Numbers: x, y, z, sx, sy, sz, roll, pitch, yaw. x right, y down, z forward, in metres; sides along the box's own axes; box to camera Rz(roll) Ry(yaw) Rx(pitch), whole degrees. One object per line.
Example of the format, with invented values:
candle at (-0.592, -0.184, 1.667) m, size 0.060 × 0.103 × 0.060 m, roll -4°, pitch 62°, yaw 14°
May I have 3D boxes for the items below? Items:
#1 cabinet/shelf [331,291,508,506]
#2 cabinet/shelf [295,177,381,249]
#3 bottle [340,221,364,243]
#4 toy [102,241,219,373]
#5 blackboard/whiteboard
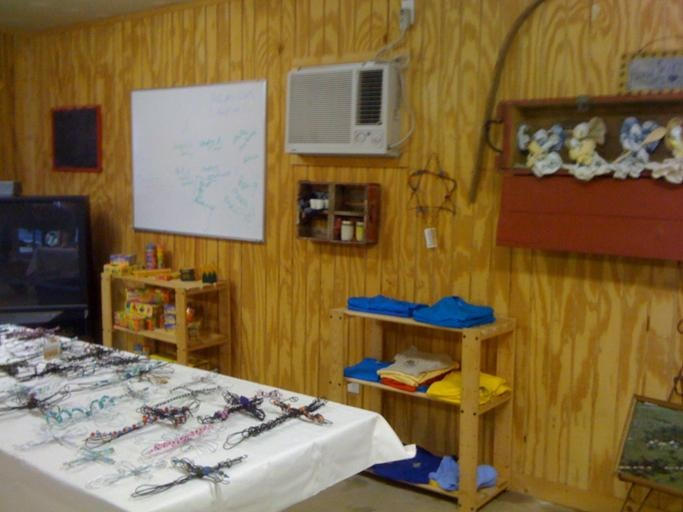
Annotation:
cabinet/shelf at (0.486, 0.815, 3.289) m, size 1.046 × 1.061 × 0.380 m, roll 6°, pitch 6°, yaw 41°
cabinet/shelf at (-0.034, -0.285, 3.795) m, size 0.484 × 0.377 × 0.164 m, roll 5°, pitch 3°, yaw 25°
bottle at (0.079, -0.154, 3.694) m, size 0.131 × 0.122 × 0.135 m, roll 2°, pitch 0°, yaw 26°
toy at (-1.314, 0.365, 4.344) m, size 0.796 × 0.796 × 0.372 m, roll 10°, pitch 14°, yaw 31°
blackboard/whiteboard at (-1.056, -0.619, 4.560) m, size 0.036 × 1.153 × 1.330 m, roll 3°, pitch 4°, yaw 38°
